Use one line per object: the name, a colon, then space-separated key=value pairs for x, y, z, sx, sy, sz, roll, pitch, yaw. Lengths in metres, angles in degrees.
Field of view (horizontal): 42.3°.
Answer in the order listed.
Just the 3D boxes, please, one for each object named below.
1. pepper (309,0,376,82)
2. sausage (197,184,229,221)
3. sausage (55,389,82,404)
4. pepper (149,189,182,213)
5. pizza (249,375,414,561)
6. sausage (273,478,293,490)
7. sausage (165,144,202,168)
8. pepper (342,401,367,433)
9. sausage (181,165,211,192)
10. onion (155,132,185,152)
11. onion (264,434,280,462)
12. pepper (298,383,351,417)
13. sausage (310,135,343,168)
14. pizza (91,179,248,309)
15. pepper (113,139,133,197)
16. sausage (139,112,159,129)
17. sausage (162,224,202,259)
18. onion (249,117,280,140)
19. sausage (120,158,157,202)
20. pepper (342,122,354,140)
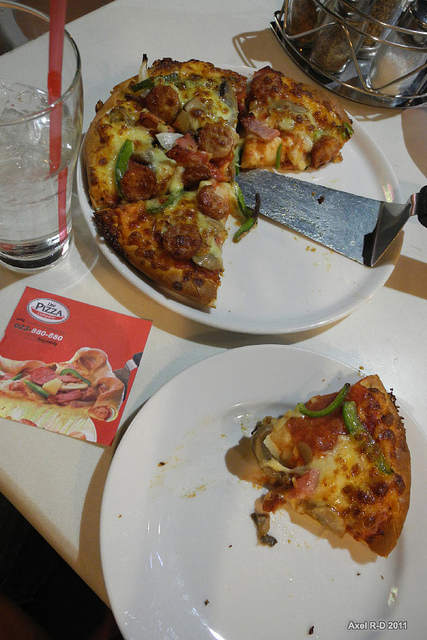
pepper: x=0.322 y=-0.718 z=1.408 sx=0.082 sy=0.261 sz=0.091 roll=40 pitch=77 yaw=8
sausage: x=-0.001 y=-0.243 z=1.141 sx=0.058 sy=0.028 sz=0.071 roll=4 pitch=67 yaw=-30
sausage: x=-0.266 y=0.141 z=1.017 sx=0.042 sy=0.010 sz=0.020 roll=-5 pitch=76 yaw=-18
pepper: x=-0.095 y=-0.243 z=1.130 sx=0.024 sy=0.026 sz=0.088 roll=33 pitch=63 yaw=21
pizza: x=0.223 y=0.259 z=0.949 sx=0.277 sy=0.169 sz=0.283 roll=-7 pitch=54 yaw=-14
sausage: x=0.124 y=0.288 z=0.974 sx=0.030 sy=0.009 sz=0.028 roll=-16 pitch=48 yaw=-8
sausage: x=-0.066 y=-0.345 z=1.175 sx=0.071 sy=0.021 sz=0.037 roll=33 pitch=88 yaw=2
pepper: x=0.236 y=0.162 z=0.922 sx=0.028 sy=0.013 sz=0.051 roll=-8 pitch=49 yaw=-10
sausage: x=-0.041 y=-0.308 z=1.179 sx=0.057 sy=0.054 sz=0.017 roll=-12 pitch=40 yaw=7
onion: x=-0.099 y=-0.390 z=1.185 sx=0.042 sy=0.013 sz=0.042 roll=46 pitch=63 yaw=-4
onion: x=0.105 y=0.224 z=0.974 sx=0.017 sy=0.051 sz=0.013 roll=-16 pitch=17 yaw=22
pepper: x=0.191 y=0.144 z=0.961 sx=0.022 sy=0.072 sz=0.056 roll=40 pitch=31 yaw=-36
sausage: x=0.263 y=-0.399 z=1.287 sx=0.061 sy=0.077 sz=0.021 roll=23 pitch=39 yaw=-19
pizza: x=-0.037 y=-0.160 z=1.127 sx=0.332 sy=0.122 sz=0.267 roll=-20 pitch=58 yaw=-22
pepper: x=-0.177 y=-0.315 z=1.136 sx=0.033 sy=0.027 sz=0.114 roll=18 pitch=69 yaw=-21
sausage: x=-0.139 y=-0.430 z=1.182 sx=0.031 sy=0.040 sz=0.013 roll=4 pitch=44 yaw=-7
sausage: x=-0.059 y=-0.156 z=1.093 sx=0.084 sy=0.047 sz=0.062 roll=-11 pitch=56 yaw=-17
onion: x=0.116 y=-0.443 z=1.270 sx=0.075 sy=0.017 sz=0.052 roll=41 pitch=57 yaw=21
sausage: x=-0.163 y=-0.291 z=1.127 sx=0.085 sy=0.023 sz=0.084 roll=16 pitch=78 yaw=-8
pepper: x=0.319 y=-0.452 z=1.315 sx=0.033 sy=0.011 sz=0.040 roll=5 pitch=80 yaw=-4
